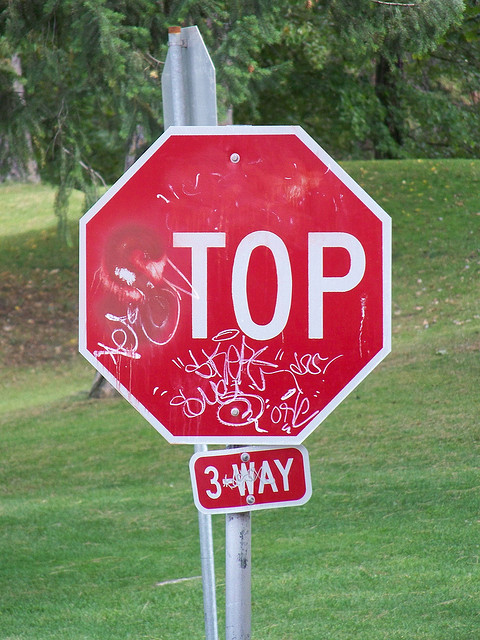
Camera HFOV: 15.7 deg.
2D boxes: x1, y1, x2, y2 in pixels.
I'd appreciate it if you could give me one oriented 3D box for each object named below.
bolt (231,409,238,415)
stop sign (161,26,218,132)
[{"bbox_3d":[-0.026,0.428,8.111,0.023,0.025,0.006,-16,3,-3],"label":"bolt"},{"bbox_3d":[-0.237,-1.100,8.281,0.266,0.528,0.008,-6,21,-12],"label":"stop sign"}]
